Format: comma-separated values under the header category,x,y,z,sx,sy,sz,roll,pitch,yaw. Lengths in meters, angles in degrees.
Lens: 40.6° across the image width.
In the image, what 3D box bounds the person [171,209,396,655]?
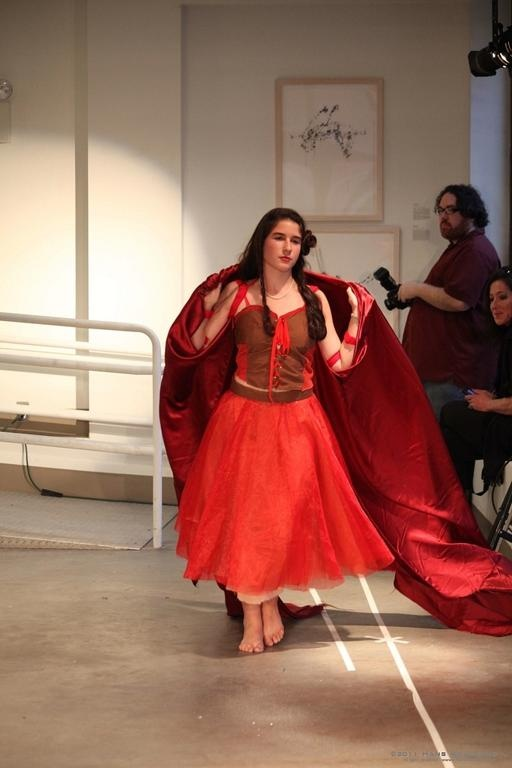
category,x,y,z,sx,sy,sz,roll,pitch,yaw
person,0.079,0.033,2.212,0.597,1.170,0.388,0,1,-28

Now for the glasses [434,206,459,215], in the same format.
category,x,y,z,sx,sy,sz,roll,pitch,yaw
glasses,1.007,-0.906,3.618,0.067,0.021,0.070,3,3,43
